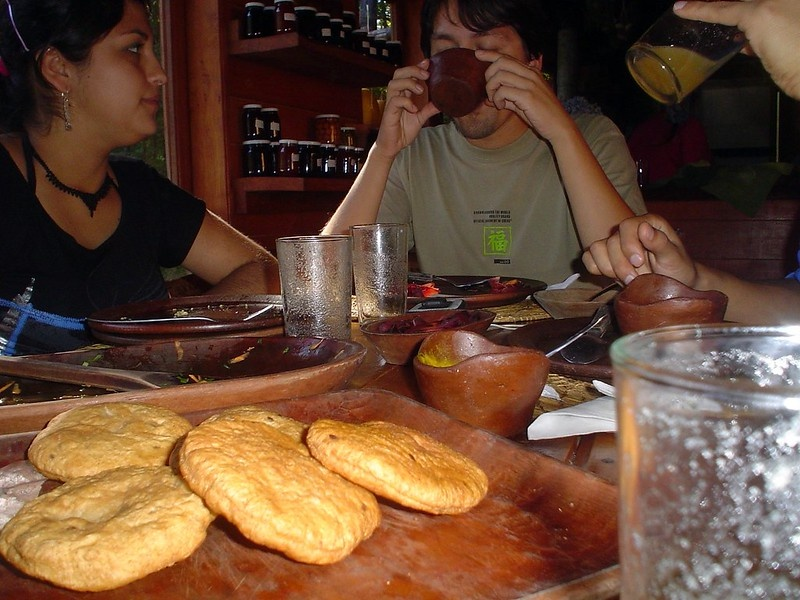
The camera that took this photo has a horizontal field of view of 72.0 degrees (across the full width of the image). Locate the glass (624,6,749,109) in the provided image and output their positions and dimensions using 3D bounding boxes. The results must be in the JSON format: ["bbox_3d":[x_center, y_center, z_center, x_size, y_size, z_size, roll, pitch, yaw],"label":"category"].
[{"bbox_3d":[0.695,-0.583,1.325,0.215,0.197,0.234,-4,13,-7],"label":"glass"}]

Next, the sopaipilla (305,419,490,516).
[{"bbox_3d":[0.004,0.151,0.498,0.115,0.029,0.111,15,-3,-34],"label":"sopaipilla"}]

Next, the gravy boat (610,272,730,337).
[{"bbox_3d":[0.379,0.011,0.852,0.208,0.095,0.168,-3,6,15],"label":"gravy boat"}]

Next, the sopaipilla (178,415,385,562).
[{"bbox_3d":[-0.095,0.160,0.464,0.130,0.030,0.122,15,8,-35],"label":"sopaipilla"}]

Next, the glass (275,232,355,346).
[{"bbox_3d":[-0.162,-0.018,1.076,0.140,0.199,0.061,-4,14,-8],"label":"glass"}]

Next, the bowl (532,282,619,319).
[{"bbox_3d":[0.420,0.003,1.286,0.136,0.031,0.120,-8,12,-23],"label":"bowl"}]

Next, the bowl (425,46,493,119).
[{"bbox_3d":[0.192,-0.739,1.860,0.235,0.204,0.150,14,46,2],"label":"bowl"}]

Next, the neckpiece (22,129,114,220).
[{"bbox_3d":[-1.185,-0.437,1.952,0.293,0.244,0.056,-9,-14,-46],"label":"neckpiece"}]

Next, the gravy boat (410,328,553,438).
[{"bbox_3d":[0.085,0.095,0.730,0.163,0.093,0.138,20,12,28],"label":"gravy boat"}]

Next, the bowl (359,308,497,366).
[{"bbox_3d":[0.050,0.051,0.967,0.148,0.038,0.139,-3,3,0],"label":"bowl"}]

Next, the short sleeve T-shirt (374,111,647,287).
[{"bbox_3d":[0.424,-0.434,3.075,1.376,0.766,1.558,1,1,19],"label":"short sleeve T-shirt"}]
